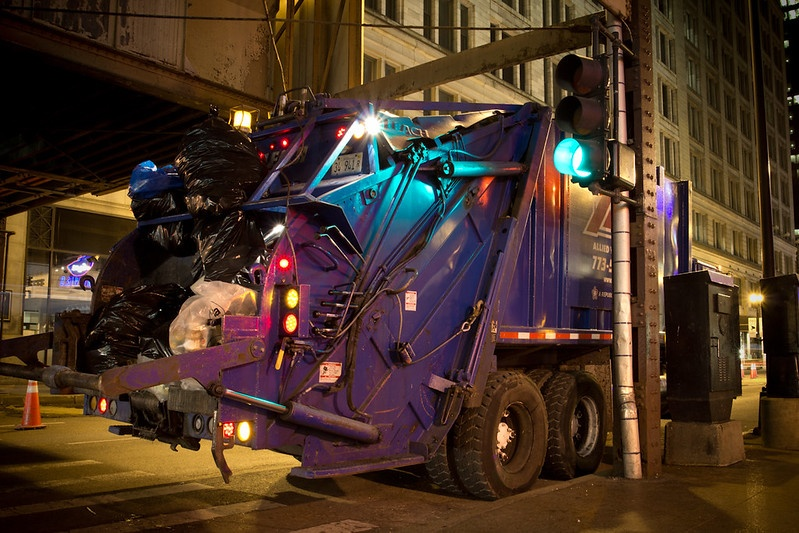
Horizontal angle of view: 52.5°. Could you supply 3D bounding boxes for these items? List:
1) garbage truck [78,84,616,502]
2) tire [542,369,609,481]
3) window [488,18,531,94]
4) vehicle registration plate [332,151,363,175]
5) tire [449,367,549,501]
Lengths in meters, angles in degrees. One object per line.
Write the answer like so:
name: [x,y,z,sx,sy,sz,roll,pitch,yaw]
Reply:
garbage truck: [-0.666,0.354,12.617,8.677,5.801,5.133,1,-1,-35]
tire: [2.676,2.462,12.511,0.565,1.699,1.707,-2,-5,40]
window: [5.548,-10.139,39.470,0.212,3.328,2.795,-24,19,3]
vehicle registration plate: [-0.684,-1.346,10.547,0.332,0.232,0.044,-4,-27,11]
tire: [1.451,2.389,11.478,0.630,1.917,1.926,0,-3,43]
